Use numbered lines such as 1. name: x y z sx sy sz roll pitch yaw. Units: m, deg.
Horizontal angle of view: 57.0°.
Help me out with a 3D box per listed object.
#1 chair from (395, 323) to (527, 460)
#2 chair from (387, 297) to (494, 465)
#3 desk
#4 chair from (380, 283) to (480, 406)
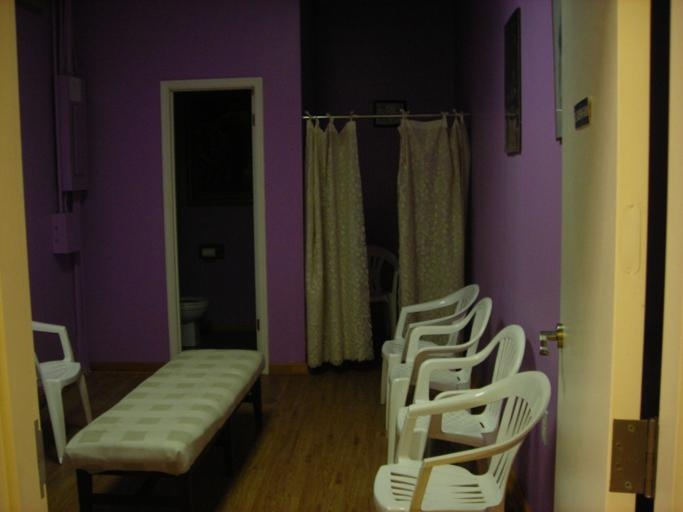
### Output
1. chair: 0.509 0.619 3.019 0.544 0.917 0.594 1 3 4
2. chair: 0.483 0.616 3.667 0.662 1.164 0.758 1 0 2
3. desk: -0.791 0.858 3.107 0.523 0.404 1.129 1 9 10
4. chair: 0.534 0.458 4.048 0.647 1.082 0.673 1 3 -2
